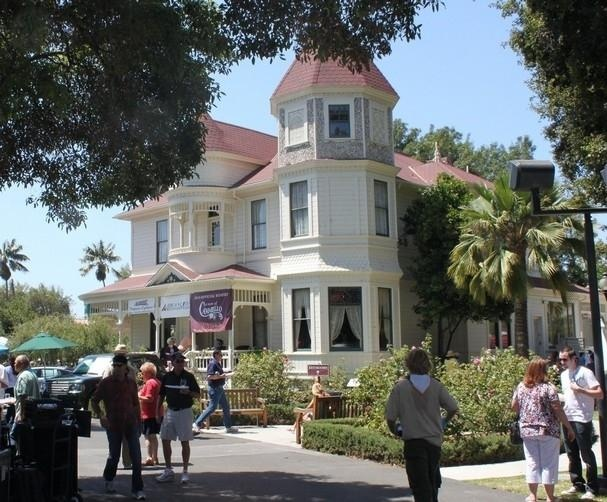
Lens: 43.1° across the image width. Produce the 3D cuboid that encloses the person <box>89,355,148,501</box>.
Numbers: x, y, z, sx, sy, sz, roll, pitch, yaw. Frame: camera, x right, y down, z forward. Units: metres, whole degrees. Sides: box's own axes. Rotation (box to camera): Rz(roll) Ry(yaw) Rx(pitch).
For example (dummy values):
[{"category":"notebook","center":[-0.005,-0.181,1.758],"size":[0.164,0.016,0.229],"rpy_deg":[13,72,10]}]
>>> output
[{"category":"person","center":[-3.168,3.004,13.434],"size":[1.053,2.388,1.133],"rpy_deg":[-2,-9,8]}]

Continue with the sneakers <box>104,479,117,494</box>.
[{"category":"sneakers","center":[-3.331,4.064,13.225],"size":[0.221,0.262,0.144],"rpy_deg":[-6,-10,30]}]

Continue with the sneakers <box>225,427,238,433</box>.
[{"category":"sneakers","center":[-1.893,4.723,20.297],"size":[0.129,0.186,0.373],"rpy_deg":[1,0,34]}]

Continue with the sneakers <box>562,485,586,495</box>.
[{"category":"sneakers","center":[4.577,4.039,12.969],"size":[0.378,0.188,0.158],"rpy_deg":[5,-15,-2]}]

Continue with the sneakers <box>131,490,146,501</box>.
[{"category":"sneakers","center":[-2.732,4.014,12.666],"size":[0.272,0.159,0.224],"rpy_deg":[-1,-11,5]}]

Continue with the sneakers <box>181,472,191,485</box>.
[{"category":"sneakers","center":[-2.130,4.063,13.871],"size":[0.152,0.209,0.427],"rpy_deg":[1,-11,-10]}]

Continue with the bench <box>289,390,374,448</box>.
[{"category":"bench","center":[0.517,4.231,19.275],"size":[0.637,1.229,1.826],"rpy_deg":[-3,-10,32]}]

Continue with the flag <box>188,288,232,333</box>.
[{"category":"flag","center":[-3.401,2.205,28.423],"size":[0.492,1.561,2.497],"rpy_deg":[7,-13,-38]}]

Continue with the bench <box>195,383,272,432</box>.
[{"category":"bench","center":[-1.926,4.390,21.387],"size":[1.664,1.237,0.654],"rpy_deg":[2,-14,-18]}]

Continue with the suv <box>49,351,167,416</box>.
[{"category":"suv","center":[-6.205,3.531,21.559],"size":[2.179,1.989,3.792],"rpy_deg":[-9,-13,40]}]

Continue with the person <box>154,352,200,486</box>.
[{"category":"person","center":[-2.331,3.050,14.226],"size":[0.723,2.308,0.910],"rpy_deg":[3,-10,-20]}]

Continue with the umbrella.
[{"category":"umbrella","center":[-9.335,3.675,27.317],"size":[1.680,1.619,1.741],"rpy_deg":[6,-7,-12]}]
